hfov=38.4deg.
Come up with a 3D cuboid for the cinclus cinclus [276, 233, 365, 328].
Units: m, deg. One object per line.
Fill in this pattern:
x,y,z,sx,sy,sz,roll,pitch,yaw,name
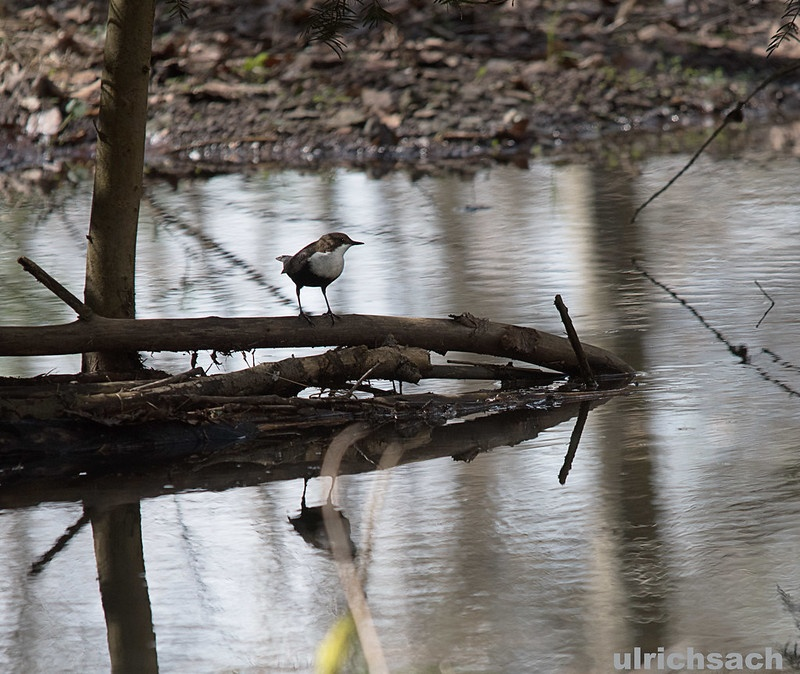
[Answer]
-0.528,-0.397,7.667,0.447,0.890,0.484,8,88,-32,cinclus cinclus
